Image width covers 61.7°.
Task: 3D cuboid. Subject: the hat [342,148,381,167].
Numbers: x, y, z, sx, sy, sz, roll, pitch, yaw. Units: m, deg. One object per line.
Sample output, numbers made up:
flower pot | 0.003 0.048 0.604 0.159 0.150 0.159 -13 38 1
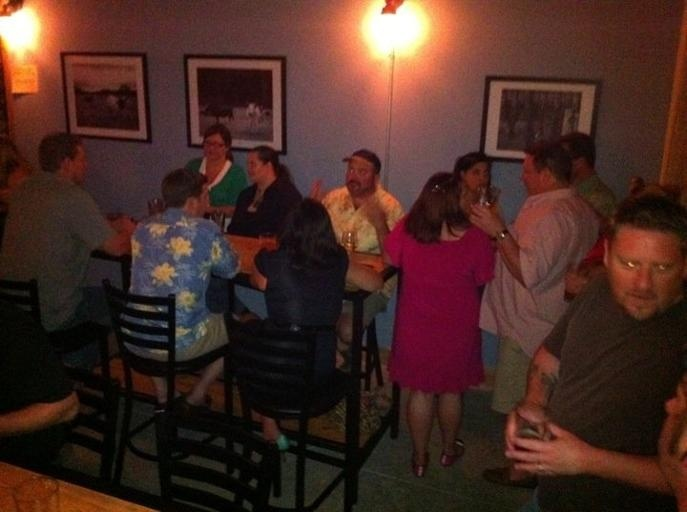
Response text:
hat | 0.141 -0.712 4.165 0.247 0.123 0.180 23 -1 -14

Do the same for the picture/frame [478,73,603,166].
picture/frame | 1.455 -1.007 4.156 0.822 0.673 0.055 6 19 11

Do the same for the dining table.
dining table | -0.521 0.614 3.136 1.495 1.105 0.768 2 6 29

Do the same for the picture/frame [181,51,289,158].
picture/frame | -0.930 -1.368 5.106 0.999 0.842 0.046 9 20 17

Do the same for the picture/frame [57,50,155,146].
picture/frame | -2.264 -1.550 5.570 1.282 1.000 0.053 9 20 19

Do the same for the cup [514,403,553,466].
cup | 0.674 0.616 2.056 0.094 0.114 0.118 1 -5 -18

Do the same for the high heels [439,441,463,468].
high heels | 0.691 1.256 3.672 0.087 0.223 0.061 39 -9 13

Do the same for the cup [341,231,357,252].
cup | 0.033 -0.092 3.607 0.113 0.171 0.109 -1 22 0

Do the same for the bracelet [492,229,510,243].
bracelet | 0.893 -0.113 3.235 0.050 0.070 0.069 5 -5 6

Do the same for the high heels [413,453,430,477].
high heels | 0.470 1.284 3.542 0.062 0.180 0.074 3 4 7
